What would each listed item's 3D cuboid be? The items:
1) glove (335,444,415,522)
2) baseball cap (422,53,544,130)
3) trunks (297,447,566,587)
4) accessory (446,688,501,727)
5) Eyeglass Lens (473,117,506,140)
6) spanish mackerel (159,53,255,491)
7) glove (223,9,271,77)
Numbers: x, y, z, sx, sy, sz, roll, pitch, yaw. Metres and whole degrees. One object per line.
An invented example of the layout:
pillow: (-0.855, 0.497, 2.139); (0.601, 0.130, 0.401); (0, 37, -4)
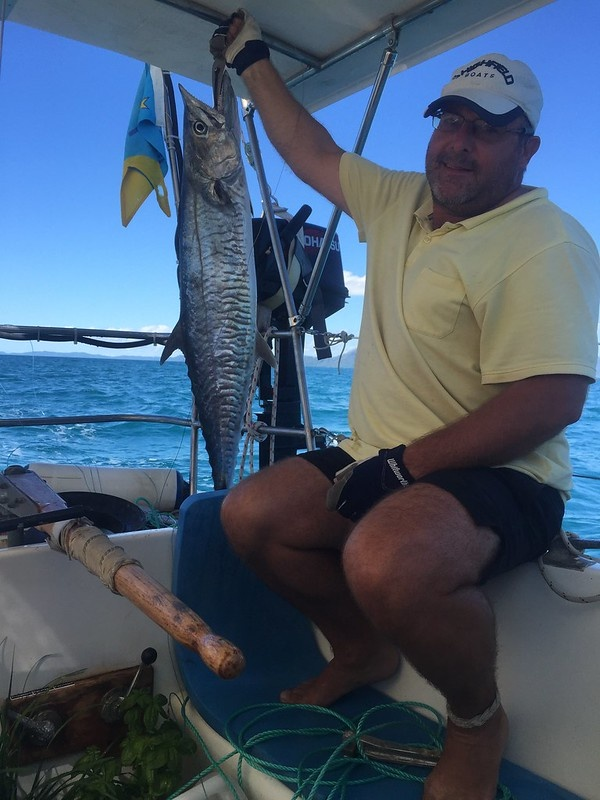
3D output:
glove: (0.163, 0.178, 1.386); (0.178, 0.121, 0.088); (-27, -1, 8)
baseball cap: (0.460, -0.710, 1.590); (0.260, 0.123, 0.174); (-1, 31, -45)
trunks: (0.384, 0.213, 1.380); (0.368, 0.132, 0.354); (15, 5, -24)
accessory: (0.331, 0.578, 1.226); (0.103, 0.055, 0.042); (1, 13, -7)
Eyeglass Lens: (0.445, -0.631, 1.534); (0.055, 0.025, 0.033); (19, -23, 22)
spanish mackerel: (-0.253, -0.260, 2.058); (0.356, 1.387, 0.318); (-2, 13, -12)
glove: (-0.149, -0.996, 1.842); (0.059, 0.145, 0.150); (22, -14, 14)
